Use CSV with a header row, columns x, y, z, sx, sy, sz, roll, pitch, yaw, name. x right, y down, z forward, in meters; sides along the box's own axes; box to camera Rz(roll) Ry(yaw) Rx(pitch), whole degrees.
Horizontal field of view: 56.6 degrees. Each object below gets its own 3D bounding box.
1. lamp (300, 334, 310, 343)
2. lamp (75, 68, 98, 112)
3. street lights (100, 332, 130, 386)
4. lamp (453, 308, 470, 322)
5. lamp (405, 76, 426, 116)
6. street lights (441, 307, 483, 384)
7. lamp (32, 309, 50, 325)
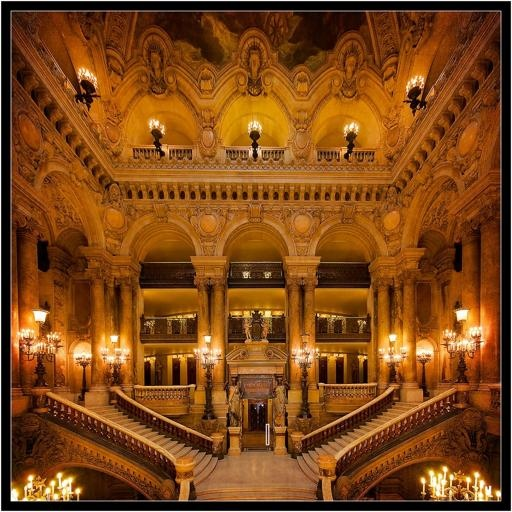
x,y,z,sx,sy,sz,roll,pitch,yaw,name
1.768,2.957,17.170,0.255,0.271,0.277,-15,-20,41,lamp
-5.303,-4.908,14.434,0.785,1.377,0.473,20,-47,-26,lamp
-4.889,3.614,16.483,0.801,1.740,0.831,2,-6,-28,street lights
5.009,1.425,11.578,0.332,0.326,0.373,-5,-11,39,lamp
4.924,-4.918,14.616,0.491,1.378,0.613,6,-12,-8,lamp
5.203,2.265,11.974,0.808,1.909,0.892,-1,-4,12,street lights
-5.294,1.400,11.598,0.302,0.324,0.515,14,-27,-30,lamp
